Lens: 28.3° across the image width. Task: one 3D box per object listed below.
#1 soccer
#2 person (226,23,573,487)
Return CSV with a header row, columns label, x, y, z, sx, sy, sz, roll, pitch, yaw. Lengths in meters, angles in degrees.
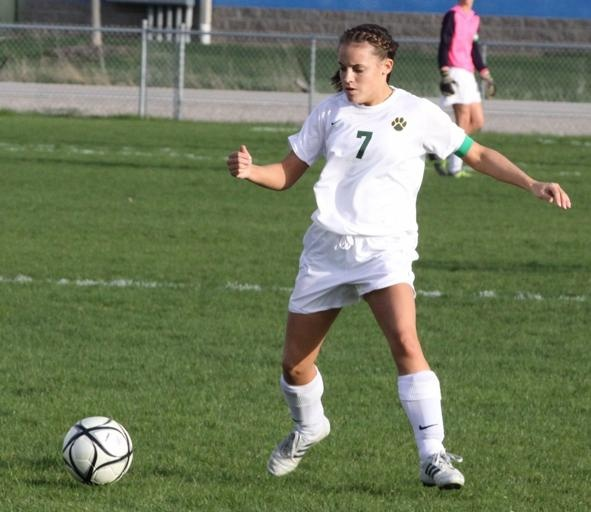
label,x,y,z,sx,sy,sz,roll,pitch,yaw
soccer,-1.306,1.270,7.677,0.409,0.456,0.438,4,15,-12
person,0.458,-0.036,7.665,1.493,2.858,0.960,5,13,20
